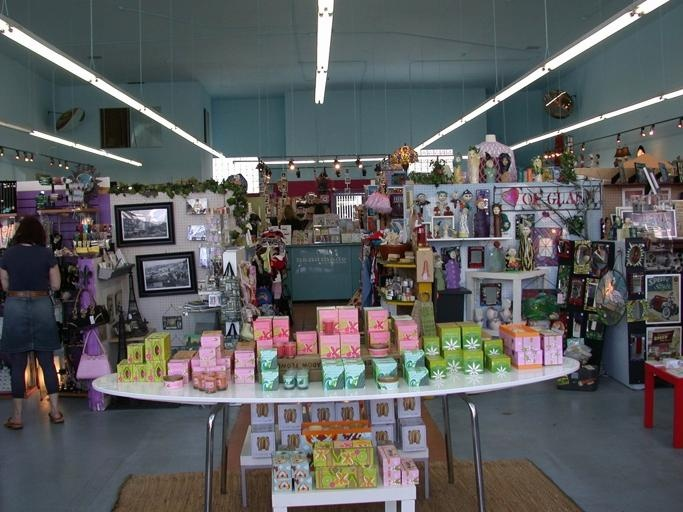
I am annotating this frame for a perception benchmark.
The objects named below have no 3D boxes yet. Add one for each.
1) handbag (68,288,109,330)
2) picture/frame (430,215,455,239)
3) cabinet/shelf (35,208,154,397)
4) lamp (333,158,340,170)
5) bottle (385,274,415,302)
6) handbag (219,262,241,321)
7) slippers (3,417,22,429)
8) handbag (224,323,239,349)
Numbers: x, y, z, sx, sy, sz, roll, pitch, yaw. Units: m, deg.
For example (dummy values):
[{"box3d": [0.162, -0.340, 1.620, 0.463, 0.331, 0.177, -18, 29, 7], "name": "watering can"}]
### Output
[{"box3d": [-3.088, 0.663, 6.970, 0.428, 0.469, 0.199, -3, -9, -8], "name": "handbag"}, {"box3d": [1.478, -0.410, 8.328, 0.283, 0.311, 0.106, 0, -16, 0], "name": "picture/frame"}, {"box3d": [-2.976, 0.627, 6.955, 0.650, 2.164, 2.133, -9, 3, -5], "name": "cabinet/shelf"}, {"box3d": [-0.098, -2.162, 13.278, 0.090, 0.311, 0.205, -3, -18, 0], "name": "lamp"}, {"box3d": [0.835, 0.469, 8.015, 0.343, 0.195, 0.501, 1, 4, 3], "name": "bottle"}, {"box3d": [-1.356, 0.446, 7.056, 0.240, 0.705, 0.245, -3, 2, -12], "name": "handbag"}, {"box3d": [-3.740, 1.893, 6.518, 0.222, 0.106, 0.101, -3, -5, 39], "name": "slippers"}, {"box3d": [-1.316, 0.956, 6.892, 0.191, 0.297, 0.177, -3, 2, -12], "name": "handbag"}]
